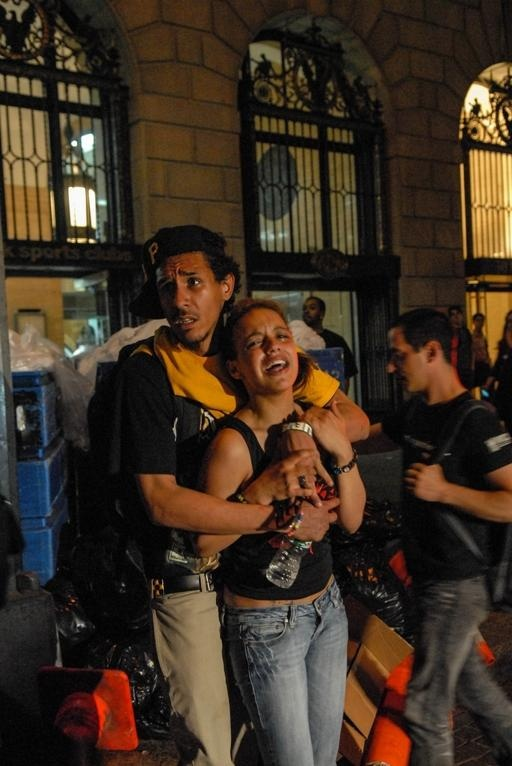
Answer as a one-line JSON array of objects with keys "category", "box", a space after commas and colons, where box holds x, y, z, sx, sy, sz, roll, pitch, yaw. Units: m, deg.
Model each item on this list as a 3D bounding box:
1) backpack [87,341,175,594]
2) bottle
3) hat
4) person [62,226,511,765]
[{"category": "backpack", "box": [-0.377, 0.251, 2.430, 0.265, 0.773, 0.501, -6, 6, -13]}, {"category": "bottle", "box": [0.133, 0.467, 2.274, 0.282, 0.277, 0.105, -9, 8, -42]}, {"category": "hat", "box": [-0.226, -0.445, 2.508, 0.215, 0.120, 0.165, 3, -3, -16]}, {"category": "person", "box": [-0.122, 0.382, 2.463, 0.774, 1.793, 0.697, -6, 6, -12]}]
